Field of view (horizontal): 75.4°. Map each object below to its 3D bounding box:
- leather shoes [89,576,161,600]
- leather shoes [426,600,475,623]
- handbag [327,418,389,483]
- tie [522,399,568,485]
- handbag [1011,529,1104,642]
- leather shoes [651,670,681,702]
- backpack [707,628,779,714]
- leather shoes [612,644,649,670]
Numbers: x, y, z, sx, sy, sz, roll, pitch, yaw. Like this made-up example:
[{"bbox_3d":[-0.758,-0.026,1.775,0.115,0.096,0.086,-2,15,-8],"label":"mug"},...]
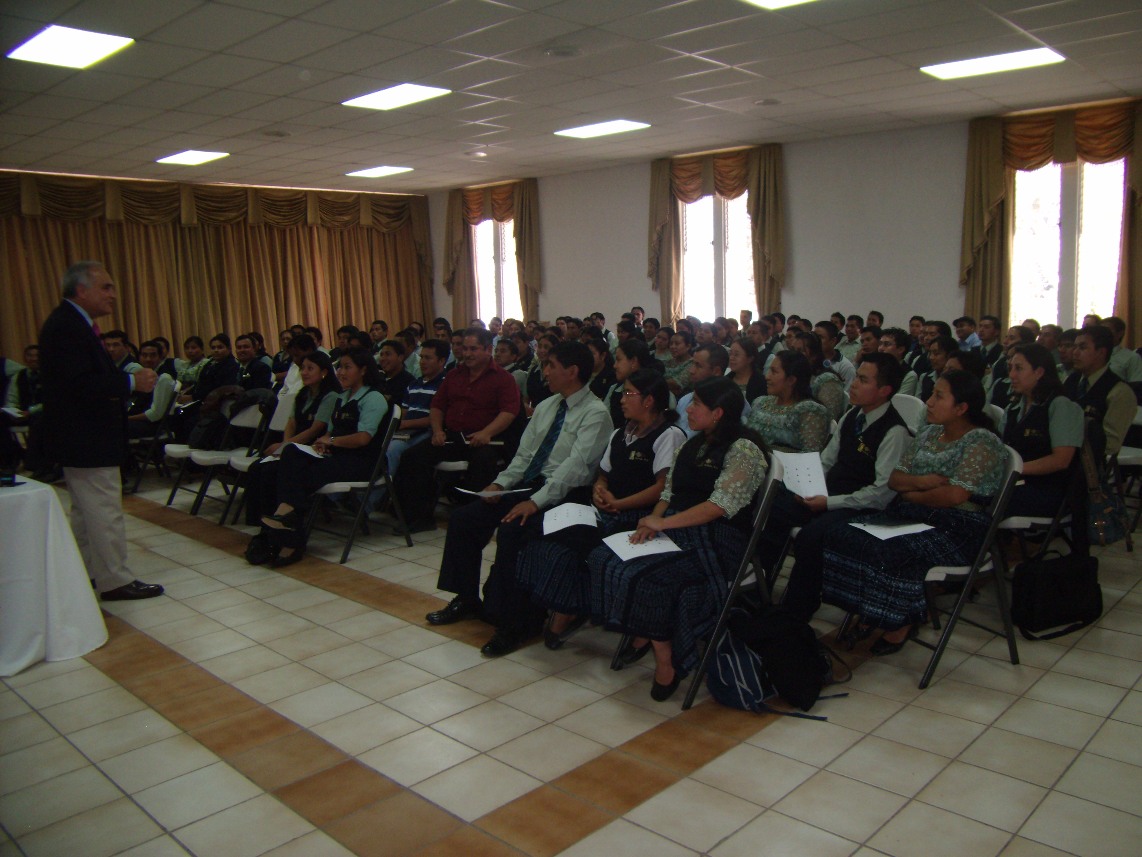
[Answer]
[{"bbox_3d":[-2.651,0.942,4.410,0.377,0.132,0.119,-3,5,-15],"label":"leather shoes"},{"bbox_3d":[-0.642,0.986,4.017,0.291,0.111,0.104,0,0,-26],"label":"leather shoes"},{"bbox_3d":[-1.448,0.180,4.987,0.462,0.488,0.326,4,-4,-27],"label":"handbag"},{"bbox_3d":[-0.125,0.116,3.997,0.167,0.555,0.044,9,-18,27],"label":"tie"},{"bbox_3d":[2.417,0.785,3.656,0.533,0.387,0.194,-8,6,-25],"label":"handbag"},{"bbox_3d":[0.410,1.083,3.205,0.131,0.145,0.144,-1,11,4],"label":"leather shoes"},{"bbox_3d":[0.700,1.027,3.110,0.230,0.316,0.330,1,-9,-35],"label":"backpack"},{"bbox_3d":[0.271,1.075,3.483,0.070,0.074,0.209,-7,-7,41],"label":"leather shoes"}]
